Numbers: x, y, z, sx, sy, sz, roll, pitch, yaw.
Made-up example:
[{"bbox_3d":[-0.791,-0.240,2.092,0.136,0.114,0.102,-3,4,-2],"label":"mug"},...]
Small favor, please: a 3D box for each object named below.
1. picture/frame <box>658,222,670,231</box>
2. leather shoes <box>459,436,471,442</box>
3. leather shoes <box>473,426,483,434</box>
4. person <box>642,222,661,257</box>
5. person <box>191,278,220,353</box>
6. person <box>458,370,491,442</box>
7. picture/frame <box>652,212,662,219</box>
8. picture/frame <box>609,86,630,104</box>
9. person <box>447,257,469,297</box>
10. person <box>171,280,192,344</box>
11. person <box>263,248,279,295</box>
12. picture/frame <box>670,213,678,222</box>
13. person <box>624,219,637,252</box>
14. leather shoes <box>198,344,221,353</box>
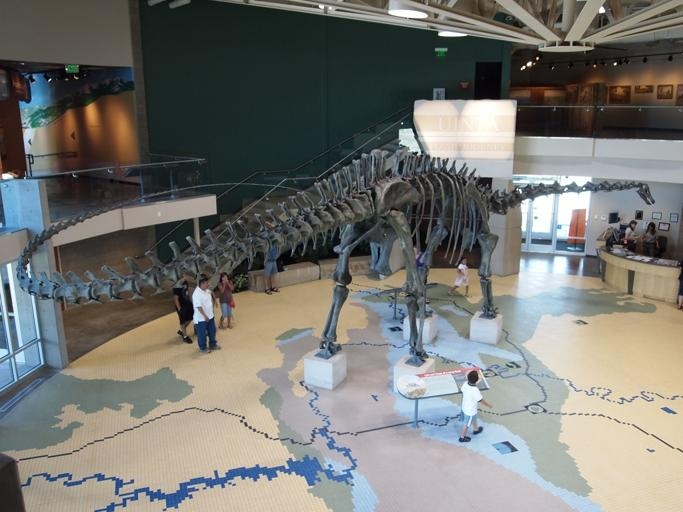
[{"bbox_3d":[11.309,-1.059,16.375,0.317,0.225,0.023,7,21,31],"label":"picture/frame"},{"bbox_3d":[1.929,2.880,7.314,0.154,0.106,0.079,-5,22,-10],"label":"leather shoes"},{"bbox_3d":[2.186,2.782,7.504,0.080,0.082,0.208,8,21,40],"label":"leather shoes"},{"bbox_3d":[10.426,-0.555,15.739,0.513,1.204,0.903,8,16,32],"label":"person"},{"bbox_3d":[-2.877,1.129,9.789,0.470,1.836,1.319,-6,15,-18],"label":"person"},{"bbox_3d":[2.114,2.246,7.395,0.377,1.221,0.771,8,16,31],"label":"person"},{"bbox_3d":[11.089,-1.451,16.413,0.244,0.208,0.026,3,14,26],"label":"picture/frame"},{"bbox_3d":[11.734,-6.875,19.679,0.809,0.687,0.084,8,17,35],"label":"picture/frame"},{"bbox_3d":[3.370,0.644,13.552,0.660,1.091,0.542,16,39,30],"label":"person"},{"bbox_3d":[-3.508,1.176,10.373,0.377,1.488,1.163,-6,15,-20],"label":"person"},{"bbox_3d":[-2.002,0.367,13.135,0.372,1.313,0.530,-4,14,-10],"label":"person"},{"bbox_3d":[11.495,-1.356,16.139,0.290,0.332,0.044,8,10,42],"label":"picture/frame"},{"bbox_3d":[9.698,-0.723,15.654,0.376,1.085,1.007,7,16,30],"label":"person"},{"bbox_3d":[-2.804,1.993,9.978,0.437,0.182,0.144,-2,13,6],"label":"leather shoes"}]
